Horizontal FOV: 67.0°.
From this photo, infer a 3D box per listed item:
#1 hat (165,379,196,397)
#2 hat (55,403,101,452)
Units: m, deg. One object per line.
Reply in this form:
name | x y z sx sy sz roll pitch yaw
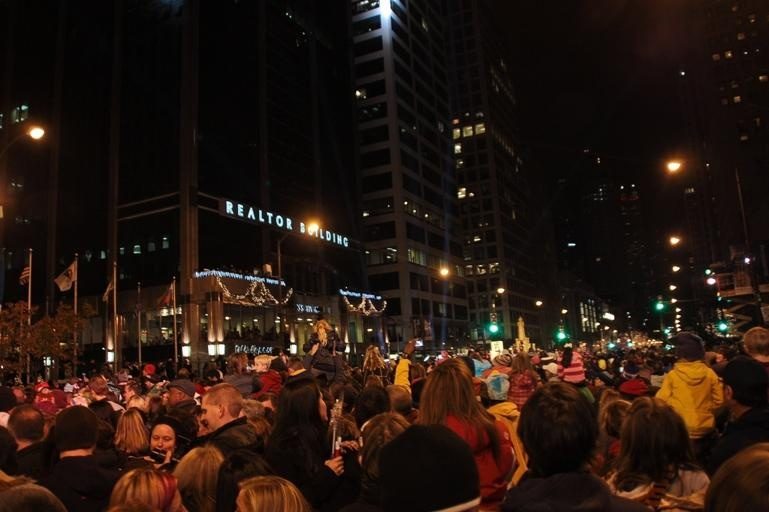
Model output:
hat | -4.422 2.873 12.720 0.489 0.255 0.349 23 -7 9
hat | -4.270 2.370 8.314 0.536 0.640 0.636 4 14 -20
